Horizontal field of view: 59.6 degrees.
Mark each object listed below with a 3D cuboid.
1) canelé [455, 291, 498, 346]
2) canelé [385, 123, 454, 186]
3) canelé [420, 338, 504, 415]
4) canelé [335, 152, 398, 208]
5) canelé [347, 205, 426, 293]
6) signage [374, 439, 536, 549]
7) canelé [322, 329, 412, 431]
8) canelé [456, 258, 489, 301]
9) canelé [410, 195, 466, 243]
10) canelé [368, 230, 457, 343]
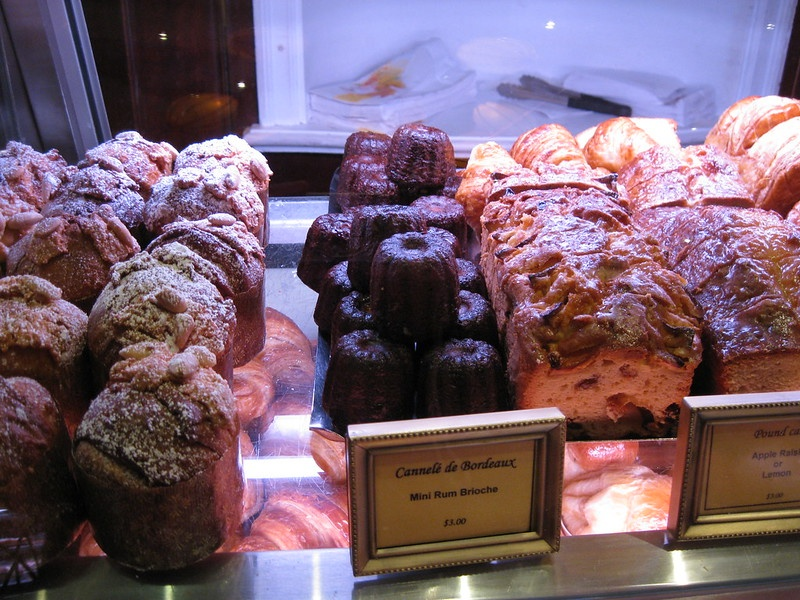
[{"bbox_3d":[0.181,0.045,1.688,0.119,0.116,0.120,3,11,7],"label":"canelé"},{"bbox_3d":[0.058,-0.439,2.197,0.189,0.139,0.188,13,33,14],"label":"canelé"},{"bbox_3d":[0.132,0.167,1.625,0.161,0.116,0.166,-5,2,-8],"label":"canelé"},{"bbox_3d":[-0.106,-0.339,2.157,0.183,0.168,0.185,0,-2,2],"label":"canelé"},{"bbox_3d":[-0.059,-0.157,1.877,0.201,0.210,0.216,8,19,20],"label":"canelé"},{"bbox_3d":[0.090,0.353,1.295,0.217,0.150,0.018,-3,16,-6],"label":"signage"},{"bbox_3d":[-0.067,0.179,1.668,0.230,0.207,0.226,3,18,-6],"label":"canelé"},{"bbox_3d":[0.191,-0.062,1.830,0.097,0.096,0.099,5,23,20],"label":"canelé"},{"bbox_3d":[0.109,-0.255,2.051,0.140,0.135,0.142,5,25,8],"label":"canelé"},{"bbox_3d":[0.040,-0.027,1.750,0.218,0.214,0.231,5,29,3],"label":"canelé"}]
